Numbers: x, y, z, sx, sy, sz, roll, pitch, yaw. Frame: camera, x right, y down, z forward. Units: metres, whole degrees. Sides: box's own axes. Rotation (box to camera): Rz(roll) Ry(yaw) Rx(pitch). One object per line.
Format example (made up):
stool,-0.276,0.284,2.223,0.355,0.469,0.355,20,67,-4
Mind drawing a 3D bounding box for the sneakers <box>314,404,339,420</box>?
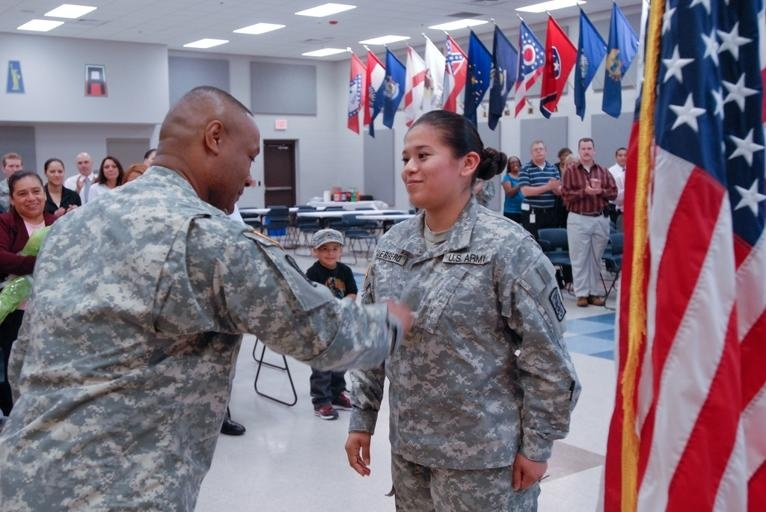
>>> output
sneakers,-0.418,1.190,4.624,0.079,0.086,0.191,2,-5,-40
